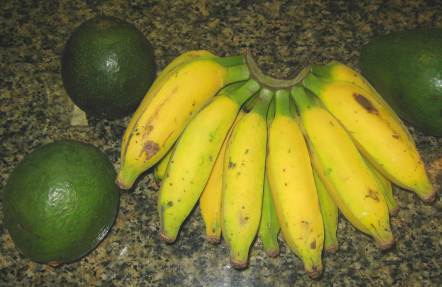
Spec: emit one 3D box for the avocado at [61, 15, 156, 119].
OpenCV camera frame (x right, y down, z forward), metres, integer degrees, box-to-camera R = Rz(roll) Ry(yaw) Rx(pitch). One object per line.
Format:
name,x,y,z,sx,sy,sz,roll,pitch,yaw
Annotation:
avocado,-0.413,-0.331,1.965,0.387,0.384,0.370,-1,11,4

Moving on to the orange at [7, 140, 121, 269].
orange,-0.636,0.240,1.807,0.425,0.340,0.349,-21,51,-26
